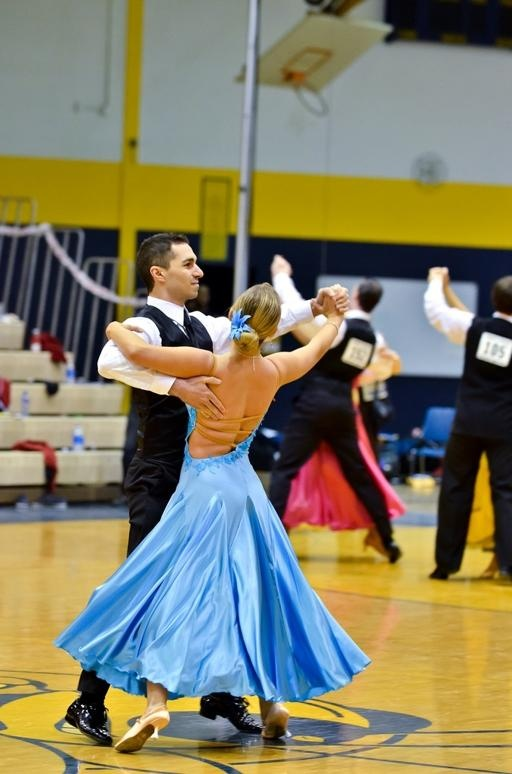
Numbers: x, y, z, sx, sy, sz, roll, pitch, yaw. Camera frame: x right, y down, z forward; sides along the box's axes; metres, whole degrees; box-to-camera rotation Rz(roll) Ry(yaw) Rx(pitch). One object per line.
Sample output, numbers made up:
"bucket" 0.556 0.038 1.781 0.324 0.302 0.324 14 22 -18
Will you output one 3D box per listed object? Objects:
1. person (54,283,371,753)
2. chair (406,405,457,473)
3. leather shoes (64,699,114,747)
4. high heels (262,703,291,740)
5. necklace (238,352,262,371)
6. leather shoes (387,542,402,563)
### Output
"person" -0.063 0.231 1.698 0.611 0.891 0.430 3 4 -14
"chair" 1.689 0.549 8.010 0.531 0.563 0.479 -3 21 2
"leather shoes" -0.325 0.647 1.684 0.142 0.056 0.050 17 -9 43
"high heels" 0.040 0.670 1.750 0.040 0.095 0.066 -6 10 -19
"necklace" -0.006 -0.055 1.728 0.030 0.032 0.020 -1 1 -15
"leather shoes" 0.711 0.864 4.529 0.107 0.098 0.119 -2 -13 -1
